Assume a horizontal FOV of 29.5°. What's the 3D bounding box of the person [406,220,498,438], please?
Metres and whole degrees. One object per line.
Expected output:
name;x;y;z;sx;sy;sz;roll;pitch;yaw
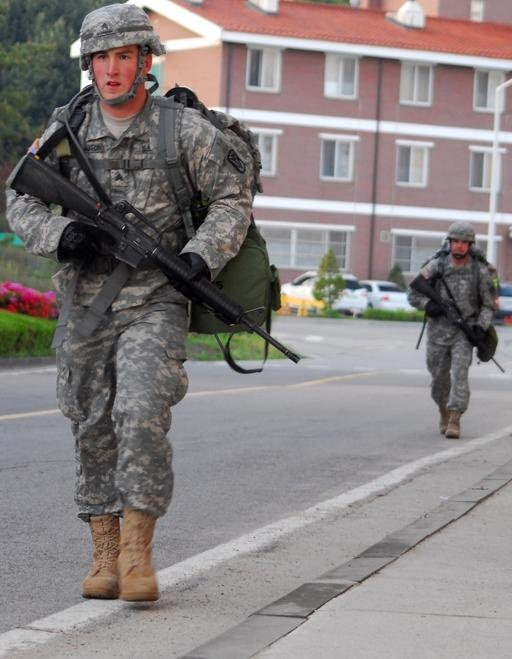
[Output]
person;1.789;0.047;9.177;0.757;1.857;0.729;5;3;20

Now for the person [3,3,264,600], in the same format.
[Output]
person;-0.485;-0.160;3.754;0.988;1.916;1.130;1;0;-14

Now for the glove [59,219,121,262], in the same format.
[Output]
glove;-0.618;-0.317;3.556;0.199;0.147;0.190;3;3;-8

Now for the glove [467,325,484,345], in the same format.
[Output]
glove;2.053;0.054;9.110;0.137;0.188;0.210;4;3;18

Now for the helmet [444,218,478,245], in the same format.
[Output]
helmet;1.923;-0.920;9.066;0.300;0.178;0.261;4;-3;1

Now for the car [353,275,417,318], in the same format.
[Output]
car;4.810;-1.222;35.243;1.679;0.865;3.058;-1;8;-14

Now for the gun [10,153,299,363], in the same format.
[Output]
gun;-0.442;-0.412;3.991;1.554;0.814;0.674;5;12;-4

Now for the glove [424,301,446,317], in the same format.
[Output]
glove;1.687;-0.188;9.164;0.203;0.159;0.125;4;3;25
